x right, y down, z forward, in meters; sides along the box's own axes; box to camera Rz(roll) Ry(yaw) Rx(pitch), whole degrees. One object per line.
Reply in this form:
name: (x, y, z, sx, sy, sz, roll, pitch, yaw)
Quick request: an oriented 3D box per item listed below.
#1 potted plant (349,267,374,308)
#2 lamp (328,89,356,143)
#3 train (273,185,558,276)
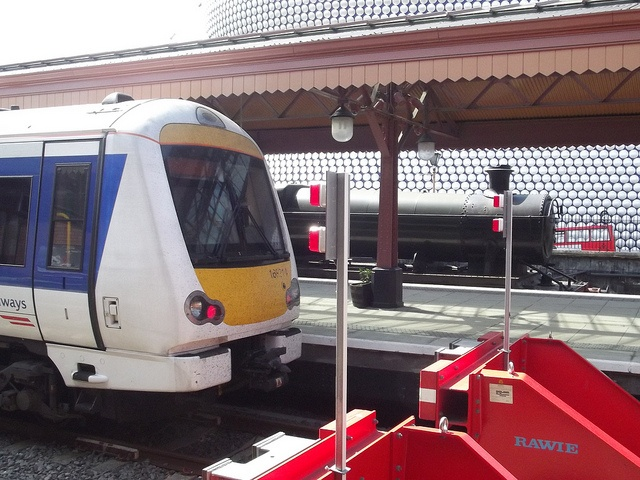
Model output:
potted plant: (0.948, 1.042, 12.630, 0.622, 0.930, 0.831, -5, 0, -11)
lamp: (0.428, -2.339, 11.118, 0.444, 1.025, 0.455, 7, -10, -35)
train: (2.087, -0.162, 17.849, 9.362, 3.019, 2.191, 2, 2, 15)
